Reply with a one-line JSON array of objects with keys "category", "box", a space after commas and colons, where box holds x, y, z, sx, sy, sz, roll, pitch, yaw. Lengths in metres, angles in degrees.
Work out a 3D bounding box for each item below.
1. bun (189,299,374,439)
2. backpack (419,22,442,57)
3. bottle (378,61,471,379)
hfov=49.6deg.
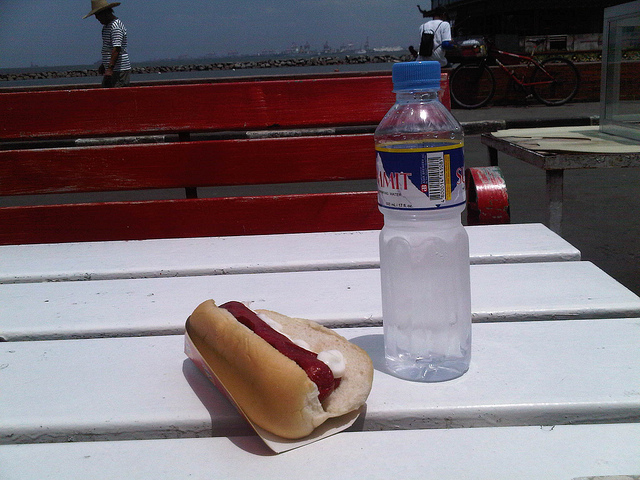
[{"category": "bun", "box": [-0.081, 0.224, 1.308, 0.303, 0.208, 0.277, -11, 17, -26]}, {"category": "backpack", "box": [1.740, -3.145, 10.967, 0.495, 0.438, 0.310, -31, 43, -32]}, {"category": "bottle", "box": [0.212, 0.006, 1.473, 0.245, 0.722, 0.205, 2, 12, -9]}]
